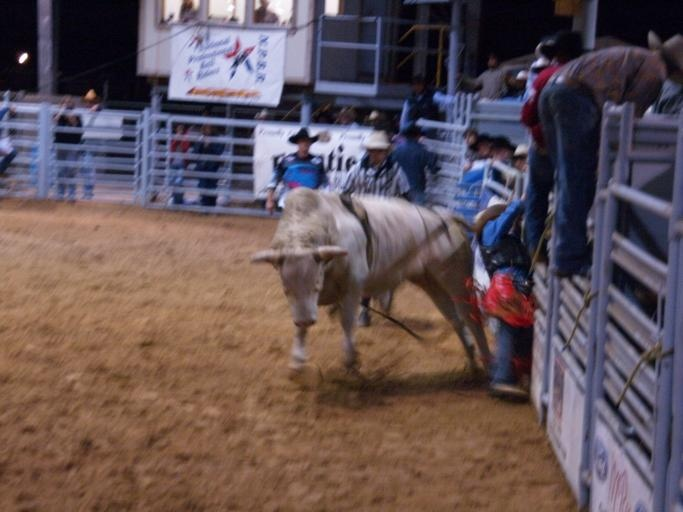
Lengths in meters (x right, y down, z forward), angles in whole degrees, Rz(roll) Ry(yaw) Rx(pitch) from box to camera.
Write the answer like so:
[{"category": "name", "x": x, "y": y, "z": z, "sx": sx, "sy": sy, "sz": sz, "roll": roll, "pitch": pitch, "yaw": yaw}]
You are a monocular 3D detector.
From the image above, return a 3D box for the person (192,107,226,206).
[{"category": "person", "x": -3.039, "y": -2.096, "z": 14.621, "sx": 0.683, "sy": 1.857, "sz": 1.286, "roll": -4, "pitch": 14, "yaw": -13}]

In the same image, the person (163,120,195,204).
[{"category": "person", "x": -3.742, "y": -2.119, "z": 14.714, "sx": 0.638, "sy": 1.746, "sz": 1.082, "roll": 0, "pitch": 14, "yaw": 3}]

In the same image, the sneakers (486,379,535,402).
[{"category": "sneakers", "x": 1.451, "y": 1.192, "z": 5.476, "sx": 0.349, "sy": 0.163, "sz": 0.170, "roll": 19, "pitch": -18, "yaw": -6}]

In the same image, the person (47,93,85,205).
[{"category": "person", "x": -6.426, "y": -2.491, "z": 14.971, "sx": 0.917, "sy": 2.330, "sz": 0.812, "roll": 10, "pitch": 18, "yaw": 40}]
